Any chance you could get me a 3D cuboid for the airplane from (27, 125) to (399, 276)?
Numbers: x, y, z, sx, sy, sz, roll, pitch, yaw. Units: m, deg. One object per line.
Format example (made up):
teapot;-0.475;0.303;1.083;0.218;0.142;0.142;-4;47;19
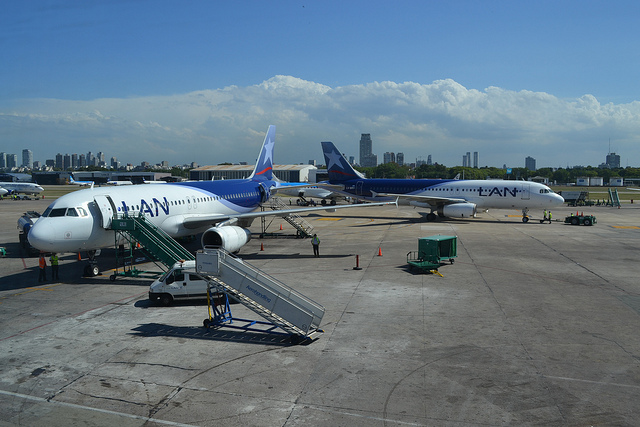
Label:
airplane;-6.878;-1.868;43.689;15.649;9.780;29.293;4;14;14
